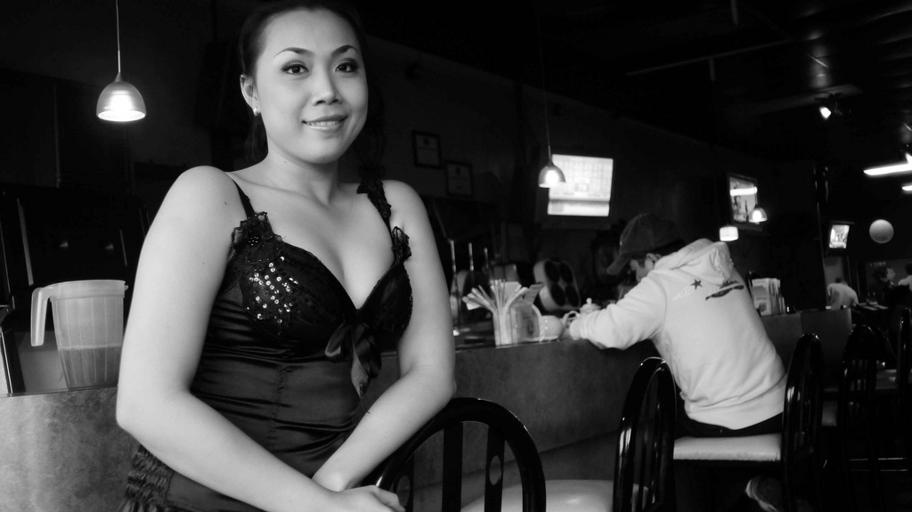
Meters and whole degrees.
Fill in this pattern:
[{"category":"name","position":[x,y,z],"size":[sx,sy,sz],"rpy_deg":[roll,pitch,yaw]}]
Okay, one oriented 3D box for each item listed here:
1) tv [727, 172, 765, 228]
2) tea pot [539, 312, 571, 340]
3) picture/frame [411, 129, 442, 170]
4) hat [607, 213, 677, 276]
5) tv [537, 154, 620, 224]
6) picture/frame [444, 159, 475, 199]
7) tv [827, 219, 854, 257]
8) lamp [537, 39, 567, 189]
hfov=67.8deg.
[{"category":"tv","position":[3.600,-0.690,8.509],"size":[0.402,0.660,0.758],"rpy_deg":[-7,-7,41]},{"category":"tea pot","position":[0.552,0.408,3.832],"size":[0.172,0.162,0.100],"rpy_deg":[-2,-10,-19]},{"category":"picture/frame","position":[-0.245,-0.861,5.553],"size":[0.033,0.318,0.338],"rpy_deg":[-5,-1,40]},{"category":"hat","position":[1.252,-0.100,4.660],"size":[0.496,0.284,0.331],"rpy_deg":[-31,-1,25]},{"category":"tv","position":[1.267,-0.683,6.921],"size":[0.028,0.569,0.808],"rpy_deg":[-3,8,-37]},{"category":"picture/frame","position":[0.015,-0.644,5.702],"size":[0.368,0.339,0.035],"rpy_deg":[3,-9,-34]},{"category":"tv","position":[5.167,-0.282,9.357],"size":[0.511,0.434,0.271],"rpy_deg":[3,2,-29]},{"category":"lamp","position":[0.877,-1.343,6.254],"size":[0.252,1.458,0.813],"rpy_deg":[1,-1,7]}]
